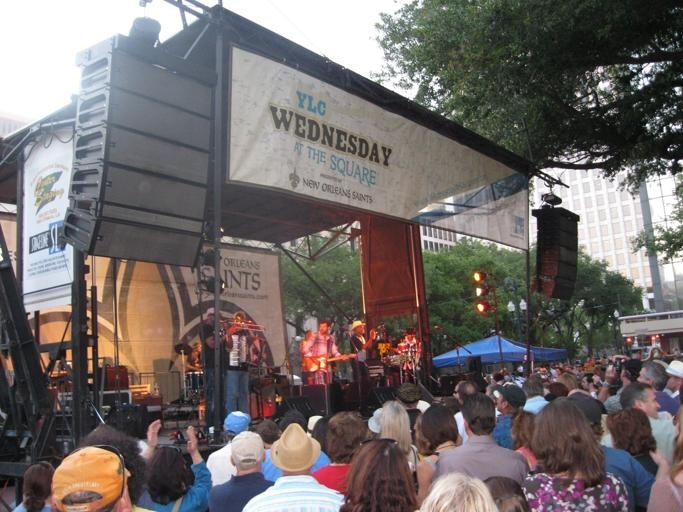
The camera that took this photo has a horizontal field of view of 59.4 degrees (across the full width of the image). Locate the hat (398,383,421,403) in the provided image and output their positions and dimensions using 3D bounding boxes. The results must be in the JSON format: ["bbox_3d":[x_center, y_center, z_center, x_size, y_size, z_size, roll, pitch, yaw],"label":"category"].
[{"bbox_3d":[0.886,1.760,7.716,0.222,0.181,0.244,3,2,43],"label":"hat"}]

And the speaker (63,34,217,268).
[{"bbox_3d":[-2.882,-1.454,8.663,1.854,3.049,0.940,5,-12,-36],"label":"speaker"}]

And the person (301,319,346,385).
[{"bbox_3d":[-0.591,3.042,17.412,1.041,2.374,0.705,-1,25,-8],"label":"person"}]

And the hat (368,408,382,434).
[{"bbox_3d":[0.386,1.837,6.786,0.077,0.287,0.269,20,-23,-16],"label":"hat"}]

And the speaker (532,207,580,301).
[{"bbox_3d":[5.546,-0.111,15.387,1.166,2.438,0.914,-3,-10,3],"label":"speaker"}]
